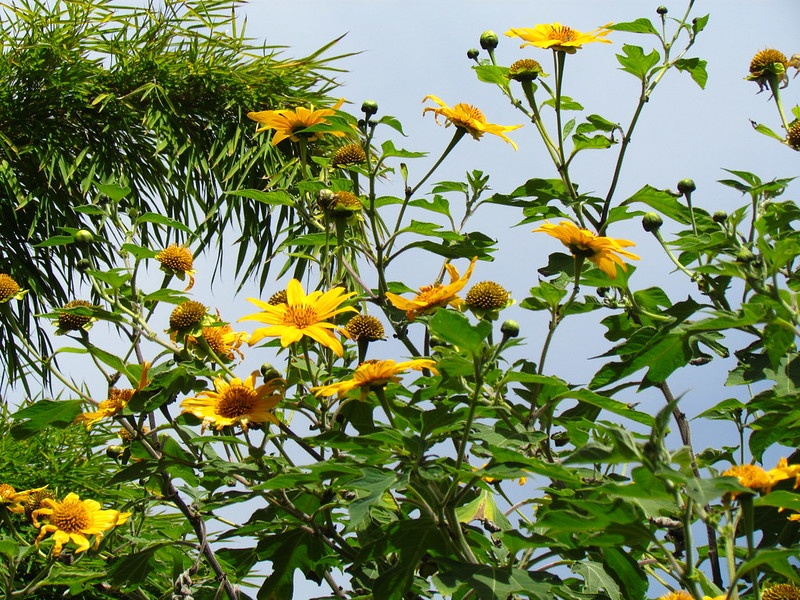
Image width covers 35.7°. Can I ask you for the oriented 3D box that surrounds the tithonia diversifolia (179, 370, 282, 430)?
[{"bbox_3d":[-0.705,0.394,5.320,0.460,0.456,0.105,7,-88,27],"label":"tithonia diversifolia"}]

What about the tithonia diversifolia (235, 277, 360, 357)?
[{"bbox_3d":[-0.422,0.101,5.156,0.525,0.474,0.162,26,-59,44],"label":"tithonia diversifolia"}]

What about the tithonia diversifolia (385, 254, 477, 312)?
[{"bbox_3d":[0.117,-0.016,5.384,0.355,0.393,0.167,-10,-74,-13],"label":"tithonia diversifolia"}]

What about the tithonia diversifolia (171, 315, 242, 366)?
[{"bbox_3d":[-0.830,0.172,5.107,0.266,0.121,0.260,22,-17,15],"label":"tithonia diversifolia"}]

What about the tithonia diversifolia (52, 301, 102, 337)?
[{"bbox_3d":[-1.380,0.081,5.244,0.181,0.177,0.089,-1,-62,7],"label":"tithonia diversifolia"}]

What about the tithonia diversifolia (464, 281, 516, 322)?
[{"bbox_3d":[0.374,0.030,5.547,0.198,0.190,0.198,11,-60,25],"label":"tithonia diversifolia"}]

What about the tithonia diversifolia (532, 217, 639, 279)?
[{"bbox_3d":[0.714,-0.174,4.752,0.290,0.119,0.284,28,-15,-36],"label":"tithonia diversifolia"}]
